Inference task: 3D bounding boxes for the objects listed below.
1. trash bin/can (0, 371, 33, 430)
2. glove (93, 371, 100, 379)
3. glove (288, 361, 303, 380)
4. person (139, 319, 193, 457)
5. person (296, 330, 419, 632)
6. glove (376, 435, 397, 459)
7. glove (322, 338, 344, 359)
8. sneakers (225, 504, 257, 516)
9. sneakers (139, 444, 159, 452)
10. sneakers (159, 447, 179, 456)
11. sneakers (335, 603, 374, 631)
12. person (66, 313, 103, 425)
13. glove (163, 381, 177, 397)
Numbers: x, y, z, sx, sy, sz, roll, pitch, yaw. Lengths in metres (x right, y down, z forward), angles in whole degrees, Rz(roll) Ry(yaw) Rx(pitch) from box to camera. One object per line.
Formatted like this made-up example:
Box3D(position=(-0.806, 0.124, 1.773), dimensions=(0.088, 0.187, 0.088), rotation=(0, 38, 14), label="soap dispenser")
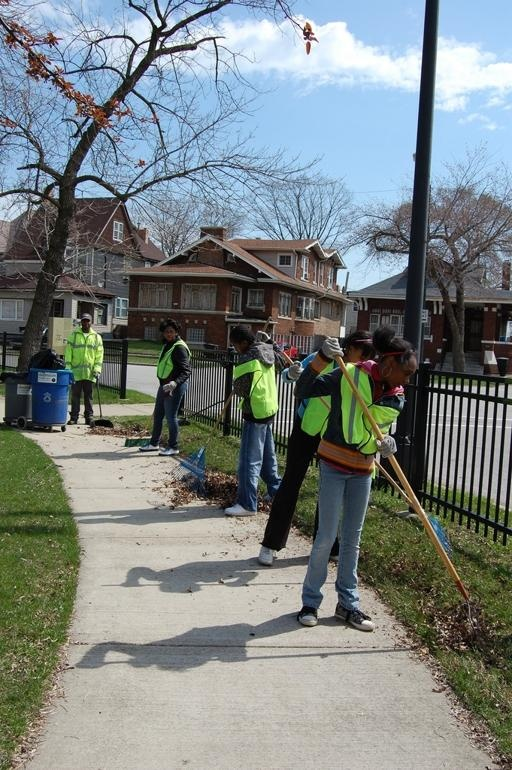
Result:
Box3D(position=(-3.876, 0.244, 10.632), dimensions=(0.374, 0.885, 0.669), rotation=(0, 6, -44), label="trash bin/can")
Box3D(position=(-2.790, -0.197, 11.577), dimensions=(0.128, 0.059, 0.170), rotation=(-17, -14, -18), label="glove")
Box3D(position=(0.237, -0.080, 4.046), dimensions=(0.097, 0.108, 0.119), rotation=(-1, 3, 4), label="glove")
Box3D(position=(-1.159, 0.043, 8.753), dimensions=(0.526, 1.797, 0.911), rotation=(3, 5, -19), label="person")
Box3D(position=(0.510, 0.539, 3.755), dimensions=(0.619, 1.736, 0.473), rotation=(6, 5, 10), label="person")
Box3D(position=(0.704, 0.330, 3.612), dimensions=(0.101, 0.120, 0.128), rotation=(9, -1, 4), label="glove")
Box3D(position=(0.394, -0.199, 3.486), dimensions=(0.117, 0.108, 0.096), rotation=(-6, 18, -29), label="glove")
Box3D(position=(-0.150, 1.147, 6.103), dimensions=(0.286, 0.114, 0.104), rotation=(9, -10, -15), label="sneakers")
Box3D(position=(-1.458, 0.853, 9.035), dimensions=(0.268, 0.107, 0.095), rotation=(2, -1, -9), label="sneakers")
Box3D(position=(-1.153, 0.890, 8.862), dimensions=(0.274, 0.110, 0.101), rotation=(6, -2, -34), label="sneakers")
Box3D(position=(0.575, 1.352, 3.892), dimensions=(0.086, 0.085, 0.224), rotation=(-6, 4, -40), label="sneakers")
Box3D(position=(-2.981, -0.254, 11.395), dimensions=(0.604, 1.898, 0.710), rotation=(4, 5, -15), label="person")
Box3D(position=(-1.088, 0.030, 8.367), dimensions=(0.175, 0.124, 0.089), rotation=(-18, 28, -25), label="glove")
